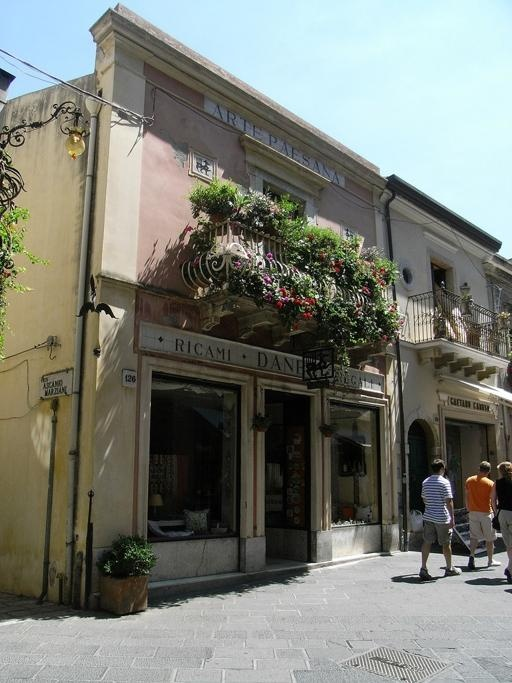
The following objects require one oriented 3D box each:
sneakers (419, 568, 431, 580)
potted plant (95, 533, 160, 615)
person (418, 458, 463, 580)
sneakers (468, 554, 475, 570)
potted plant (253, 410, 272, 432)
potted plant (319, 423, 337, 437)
[{"bbox_3d":[2.361,3.257,7.959,0.172,0.155,0.301,-4,-14,16],"label":"sneakers"},{"bbox_3d":[-1.398,2.466,6.304,0.586,0.954,0.714,5,-11,-31],"label":"potted plant"},{"bbox_3d":[2.682,2.604,8.494,0.570,1.663,1.415,-4,-13,18],"label":"person"},{"bbox_3d":[3.302,3.392,8.718,0.078,0.117,0.251,-1,-3,9],"label":"sneakers"},{"bbox_3d":[0.082,1.264,8.711,0.223,0.336,0.404,-9,-14,31],"label":"potted plant"},{"bbox_3d":[1.260,1.565,10.001,0.203,0.248,0.333,-8,-15,31],"label":"potted plant"}]
